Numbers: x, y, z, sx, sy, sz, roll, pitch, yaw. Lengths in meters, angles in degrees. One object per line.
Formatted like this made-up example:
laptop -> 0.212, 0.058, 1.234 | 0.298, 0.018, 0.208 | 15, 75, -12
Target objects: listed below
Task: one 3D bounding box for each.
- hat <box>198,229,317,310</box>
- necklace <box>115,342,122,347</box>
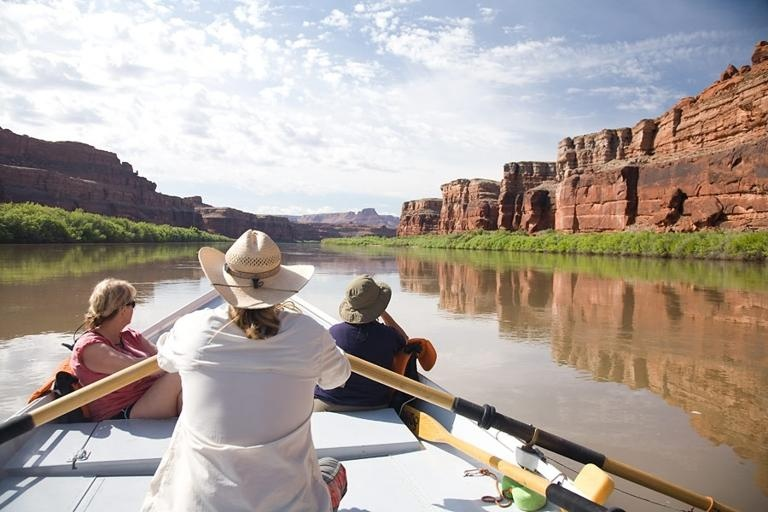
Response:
hat -> -0.978, -0.004, 3.636 | 0.901, 0.370, 0.906 | 6, 27, 4
necklace -> -2.652, 0.892, 4.681 | 0.029, 0.033, 0.038 | -3, -7, -1
